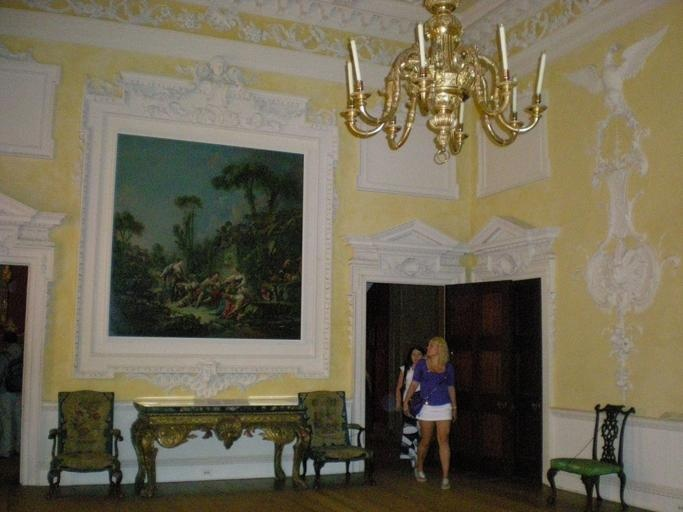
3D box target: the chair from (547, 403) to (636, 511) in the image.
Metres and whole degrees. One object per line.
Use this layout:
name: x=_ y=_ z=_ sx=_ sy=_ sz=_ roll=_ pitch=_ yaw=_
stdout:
chair: x=3.341 y=2.651 z=9.259 sx=0.892 sy=1.318 sz=0.819 roll=2 pitch=-2 yaw=-30

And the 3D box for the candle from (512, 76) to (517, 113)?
candle: x=1.661 y=-1.550 z=6.758 sx=0.060 sy=0.319 sz=0.446 roll=0 pitch=-2 yaw=12

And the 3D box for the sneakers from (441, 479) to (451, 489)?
sneakers: x=1.504 y=3.270 z=10.029 sx=0.138 sy=0.133 sz=0.292 roll=1 pitch=-2 yaw=7

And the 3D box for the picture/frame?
picture/frame: x=-2.257 y=-0.358 z=10.735 sx=4.339 sy=4.948 sz=0.377 roll=3 pitch=-5 yaw=-14

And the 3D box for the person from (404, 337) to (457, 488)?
person: x=1.316 y=2.268 z=10.242 sx=0.658 sy=2.135 sz=0.573 roll=0 pitch=-2 yaw=10
